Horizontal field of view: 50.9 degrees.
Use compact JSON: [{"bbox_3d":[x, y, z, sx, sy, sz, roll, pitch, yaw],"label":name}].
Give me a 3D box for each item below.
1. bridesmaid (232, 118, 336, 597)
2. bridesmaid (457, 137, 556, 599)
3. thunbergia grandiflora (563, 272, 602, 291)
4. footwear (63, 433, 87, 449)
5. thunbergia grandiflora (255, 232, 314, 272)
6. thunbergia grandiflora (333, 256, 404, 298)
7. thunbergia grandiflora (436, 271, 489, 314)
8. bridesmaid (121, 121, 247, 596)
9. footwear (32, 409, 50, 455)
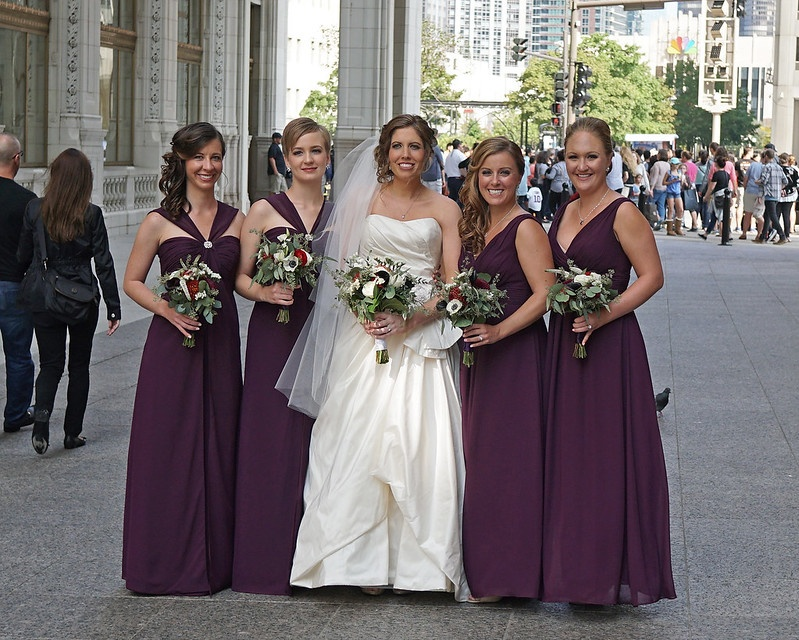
[{"bbox_3d":[-0.649,0.164,4.532,0.624,2.471,0.668,6,5,16],"label":"bridesmaid"},{"bbox_3d":[0.504,0.208,4.597,0.702,2.205,0.667,1,3,8],"label":"bridesmaid"},{"bbox_3d":[0.883,-0.196,4.082,0.178,0.079,0.107,2,10,11],"label":"thunbergia grandiflora"},{"bbox_3d":[-2.665,1.002,6.928,0.075,0.096,0.215,4,7,23],"label":"footwear"},{"bbox_3d":[-0.610,-0.369,4.440,0.292,0.185,0.331,-1,10,-5],"label":"thunbergia grandiflora"},{"bbox_3d":[-0.165,-0.227,4.326,0.241,0.158,0.253,0,2,-12],"label":"thunbergia grandiflora"},{"bbox_3d":[0.341,-0.144,4.206,0.296,0.216,0.229,-2,10,-14],"label":"thunbergia grandiflora"},{"bbox_3d":[-1.080,0.230,4.522,0.639,2.471,0.706,-1,5,-38],"label":"bridesmaid"},{"bbox_3d":[-2.772,0.867,6.489,0.109,0.367,0.244,2,-3,-2],"label":"footwear"}]
